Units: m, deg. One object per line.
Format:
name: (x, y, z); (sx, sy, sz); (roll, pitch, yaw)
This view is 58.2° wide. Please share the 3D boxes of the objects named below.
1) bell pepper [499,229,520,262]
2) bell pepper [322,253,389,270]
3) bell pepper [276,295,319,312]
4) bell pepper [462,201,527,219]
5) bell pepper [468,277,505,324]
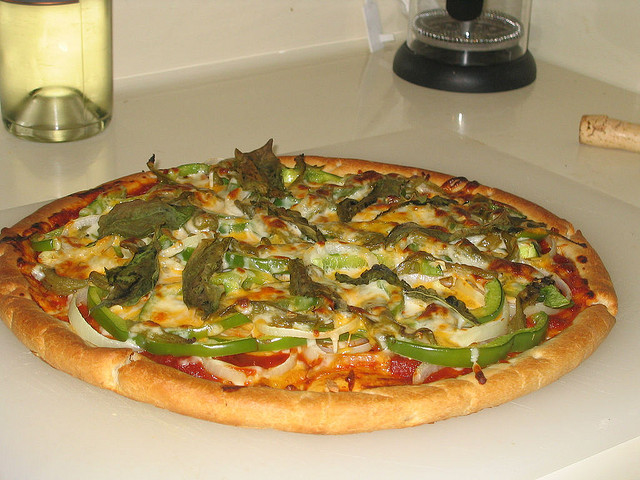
bell pepper: (0.366, 0.011, 1.134); (0.024, 0.050, 0.055); (-26, 79, 10)
bell pepper: (0.059, 0.044, 1.050); (0.085, 0.015, 0.043); (-5, 21, 0)
bell pepper: (-0.035, 0.101, 0.922); (0.060, 0.020, 0.029); (13, 38, 20)
bell pepper: (0.398, -0.067, 1.283); (0.107, 0.058, 0.019); (15, 86, 17)
bell pepper: (0.290, 0.105, 0.966); (0.064, 0.024, 0.110); (9, 38, 31)
